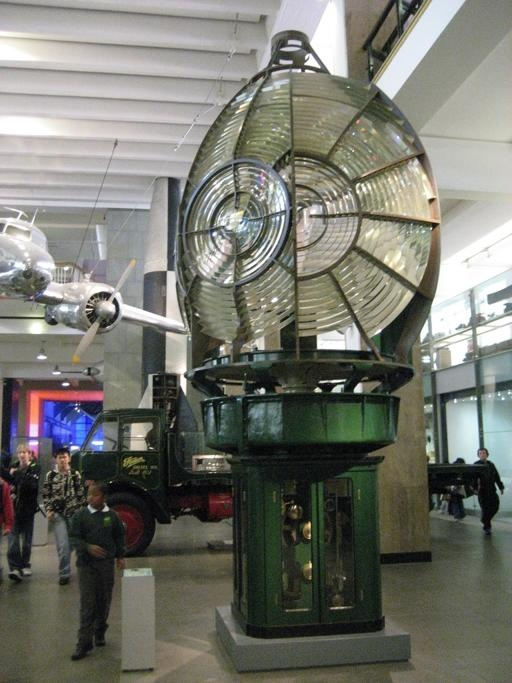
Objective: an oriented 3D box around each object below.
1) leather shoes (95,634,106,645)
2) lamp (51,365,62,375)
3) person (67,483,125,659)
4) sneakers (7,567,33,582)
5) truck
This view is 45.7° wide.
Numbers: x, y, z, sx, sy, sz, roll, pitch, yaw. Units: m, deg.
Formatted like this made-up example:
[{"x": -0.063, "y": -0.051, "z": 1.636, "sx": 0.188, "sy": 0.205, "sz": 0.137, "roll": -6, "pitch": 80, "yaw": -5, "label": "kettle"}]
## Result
[{"x": -1.510, "y": 2.911, "z": 5.914, "sx": 0.120, "sy": 0.115, "sz": 0.074, "roll": -1, "pitch": -15, "yaw": 12, "label": "leather shoes"}, {"x": -11.163, "y": 1.611, "z": 33.850, "sx": 0.465, "sy": 0.486, "sz": 0.475, "roll": -12, "pitch": -31, "yaw": 21, "label": "lamp"}, {"x": -1.525, "y": 2.151, "z": 5.769, "sx": 0.425, "sy": 1.565, "sz": 0.544, "roll": -5, "pitch": -9, "yaw": 26, "label": "person"}, {"x": -3.717, "y": 3.685, "z": 9.585, "sx": 0.167, "sy": 0.213, "sz": 0.467, "roll": 2, "pitch": -2, "yaw": -1, "label": "sneakers"}, {"x": 0.606, "y": 3.103, "z": 14.000, "sx": 9.044, "sy": 3.836, "sz": 3.070, "roll": 2, "pitch": -10, "yaw": -9, "label": "truck"}]
